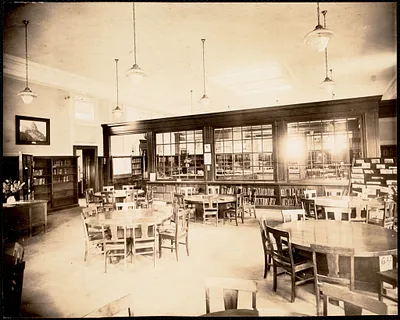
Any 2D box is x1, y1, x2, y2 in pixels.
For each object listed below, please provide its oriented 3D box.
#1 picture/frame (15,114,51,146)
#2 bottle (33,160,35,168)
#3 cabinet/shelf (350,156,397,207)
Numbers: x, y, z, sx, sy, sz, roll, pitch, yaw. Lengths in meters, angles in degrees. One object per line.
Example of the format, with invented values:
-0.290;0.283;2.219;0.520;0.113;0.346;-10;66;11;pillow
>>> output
-5.463;-0.976;11.109;0.082;0.964;1.077;-2;-3;32;picture/frame
-5.389;0.123;11.211;0.071;0.219;0.146;-1;-2;-6;bottle
4.901;0.537;9.696;0.948;1.411;0.422;1;-10;44;cabinet/shelf
